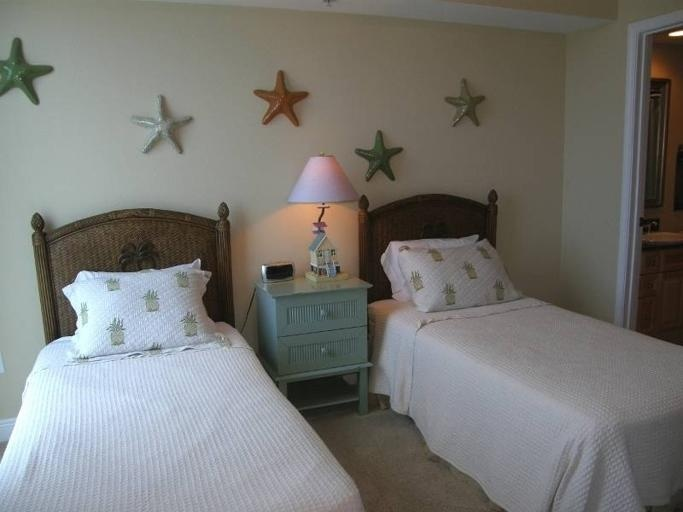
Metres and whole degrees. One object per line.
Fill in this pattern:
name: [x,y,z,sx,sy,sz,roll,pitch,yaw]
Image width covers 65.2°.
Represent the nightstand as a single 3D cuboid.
nightstand: [-0.045,0.464,3.736,0.797,1.164,0.741,-4,10,-22]
